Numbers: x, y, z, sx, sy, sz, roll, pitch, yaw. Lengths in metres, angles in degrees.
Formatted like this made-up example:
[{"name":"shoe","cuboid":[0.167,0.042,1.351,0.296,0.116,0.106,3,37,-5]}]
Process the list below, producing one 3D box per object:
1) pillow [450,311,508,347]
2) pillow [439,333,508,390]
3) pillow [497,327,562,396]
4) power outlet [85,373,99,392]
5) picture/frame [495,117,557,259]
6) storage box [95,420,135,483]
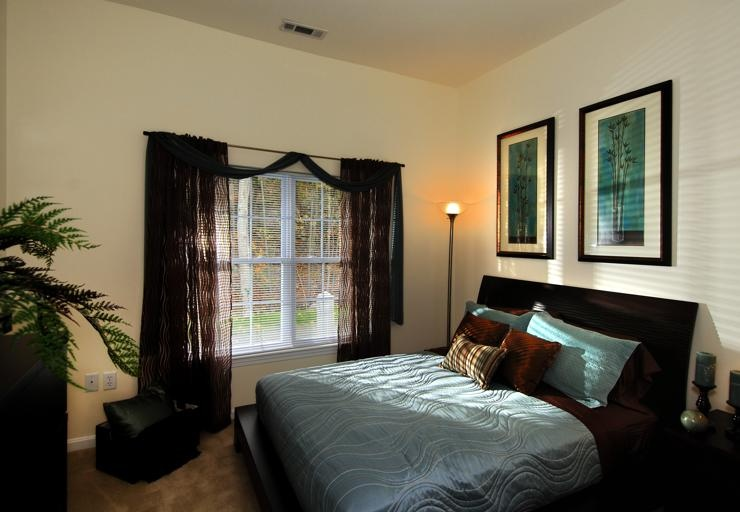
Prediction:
[{"name":"pillow","cuboid":[0.944,0.634,4.241,0.099,0.236,0.332,34,-10,-27]},{"name":"pillow","cuboid":[0.825,0.829,4.072,0.279,0.242,0.599,-11,8,-27]},{"name":"pillow","cuboid":[1.251,0.827,3.876,0.124,0.402,0.416,33,-4,-29]},{"name":"power outlet","cuboid":[-2.282,1.038,4.117,0.101,0.142,0.129,-2,5,-30]},{"name":"picture/frame","cuboid":[1.479,-0.633,4.769,0.116,1.274,0.686,-2,4,-29]},{"name":"storage box","cuboid":[-1.914,1.489,3.795,0.455,0.442,0.248,1,2,44]}]
